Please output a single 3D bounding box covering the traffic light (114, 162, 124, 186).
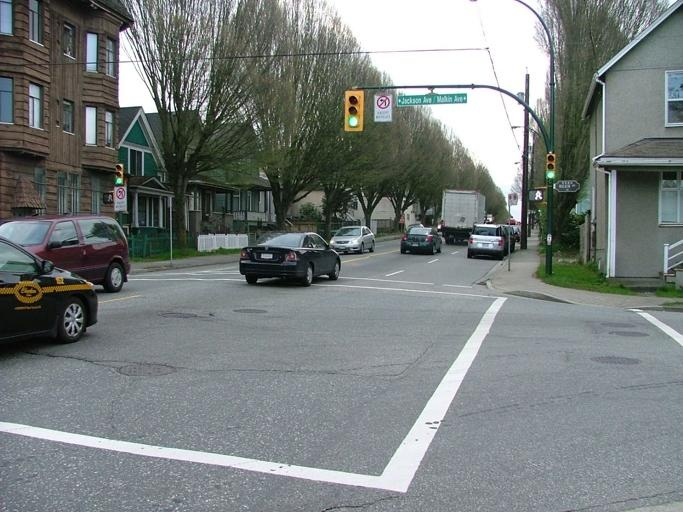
[{"bbox_3d":[-9.066,-3.356,26.169,0.291,0.887,0.648,-3,4,-24],"label":"traffic light"}]

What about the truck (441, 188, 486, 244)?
[{"bbox_3d":[9.852,-3.294,51.388,2.377,2.990,4.700,1,2,14],"label":"truck"}]

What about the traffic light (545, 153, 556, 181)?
[{"bbox_3d":[7.575,-3.267,23.006,0.258,0.992,0.353,-1,4,7],"label":"traffic light"}]

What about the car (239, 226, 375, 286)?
[{"bbox_3d":[-1.525,0.090,20.251,1.693,1.753,3.264,0,5,31],"label":"car"}]

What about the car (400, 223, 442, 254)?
[{"bbox_3d":[4.819,-0.937,38.459,1.926,1.701,2.273,0,4,24],"label":"car"}]
